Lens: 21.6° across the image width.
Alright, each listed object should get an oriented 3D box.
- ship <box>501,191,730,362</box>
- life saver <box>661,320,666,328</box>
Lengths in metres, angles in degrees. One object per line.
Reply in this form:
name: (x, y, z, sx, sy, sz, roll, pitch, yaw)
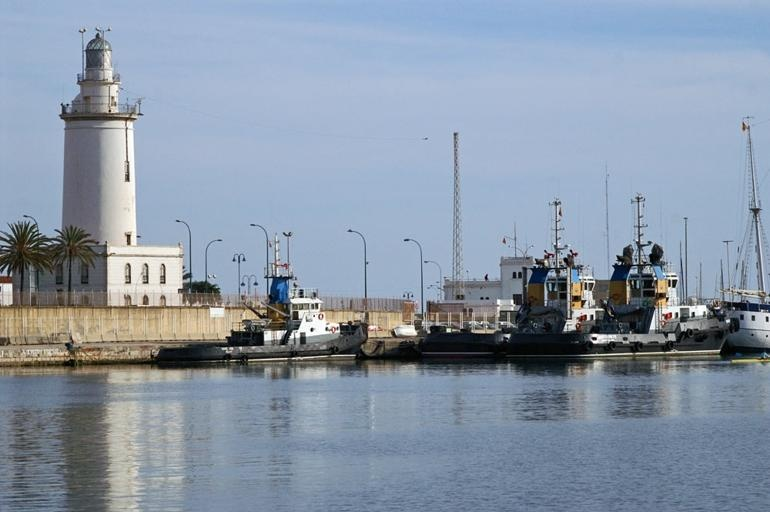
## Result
ship: (17.064, 3.102, 154.522, 16.640, 14.021, 25.079, -1, -4, 3)
life saver: (19.910, 4.858, 142.993, 0.526, 0.436, 0.104, 0, -4, -15)
